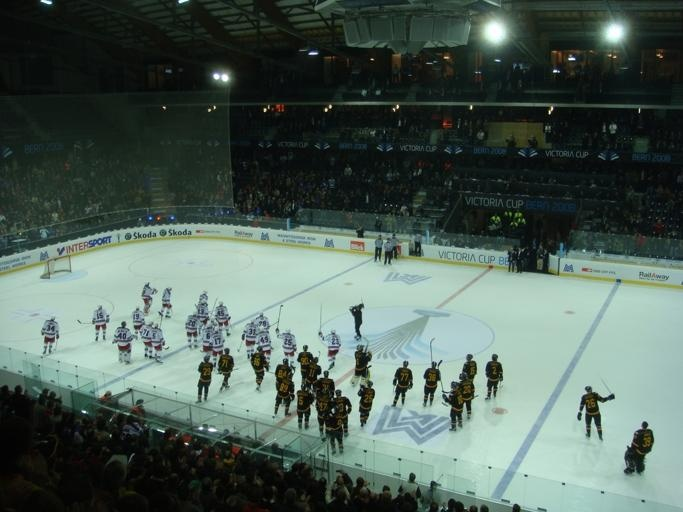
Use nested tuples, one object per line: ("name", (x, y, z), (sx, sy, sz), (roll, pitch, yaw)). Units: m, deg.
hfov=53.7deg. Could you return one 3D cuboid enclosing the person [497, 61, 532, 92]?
("person", (10.083, -10.102, 38.818), (1.470, 0.810, 2.211), (12, 28, 20))
